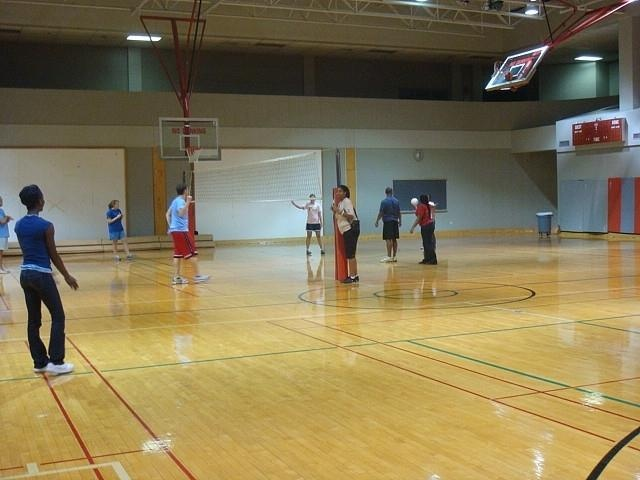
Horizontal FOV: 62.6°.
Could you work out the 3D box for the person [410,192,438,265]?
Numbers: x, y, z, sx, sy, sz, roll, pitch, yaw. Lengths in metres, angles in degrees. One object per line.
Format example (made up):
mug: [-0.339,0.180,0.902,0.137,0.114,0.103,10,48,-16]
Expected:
person: [2.541,-0.307,12.780,0.564,1.593,2.020,0,4,10]

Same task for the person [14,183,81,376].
person: [-2.564,0.331,4.912,0.453,1.711,0.810,-3,5,-30]

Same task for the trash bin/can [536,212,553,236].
trash bin/can: [8.293,-0.578,19.447,0.456,0.883,1.665,0,5,22]

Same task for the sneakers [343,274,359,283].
sneakers: [0.553,0.685,9.468,0.283,0.132,0.104,2,-5,-8]

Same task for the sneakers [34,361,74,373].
sneakers: [-2.403,1.141,4.718,0.274,0.136,0.100,-2,3,-13]

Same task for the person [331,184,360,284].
person: [0.453,-0.105,9.395,0.447,1.751,0.556,-1,4,2]

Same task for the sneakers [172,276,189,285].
sneakers: [-2.634,0.771,9.977,0.328,0.173,0.151,0,3,-18]

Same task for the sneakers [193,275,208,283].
sneakers: [-2.295,0.755,10.210,0.311,0.166,0.122,-7,4,4]

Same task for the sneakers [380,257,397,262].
sneakers: [1.650,0.472,12.679,0.358,0.168,0.155,3,-1,-4]
